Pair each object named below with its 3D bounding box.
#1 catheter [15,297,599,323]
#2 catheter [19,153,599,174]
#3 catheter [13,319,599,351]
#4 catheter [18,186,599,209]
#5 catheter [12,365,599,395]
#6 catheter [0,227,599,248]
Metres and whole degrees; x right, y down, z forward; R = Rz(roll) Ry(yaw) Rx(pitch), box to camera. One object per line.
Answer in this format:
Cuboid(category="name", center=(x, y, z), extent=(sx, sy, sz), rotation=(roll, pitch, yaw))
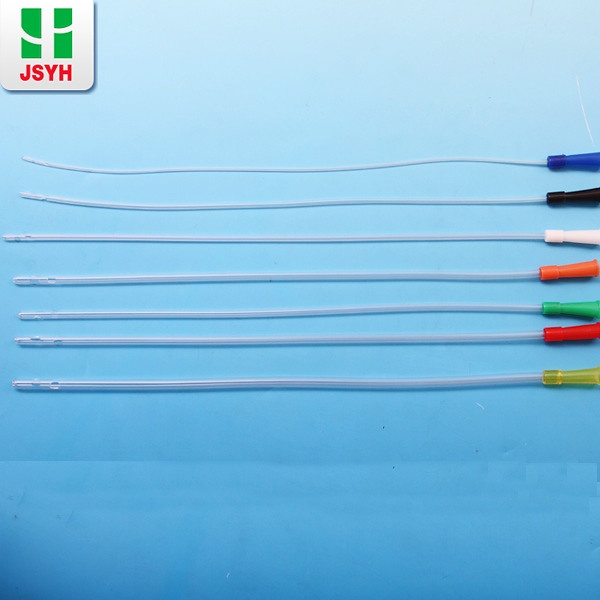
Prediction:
Cuboid(category="catheter", center=(-0.008, 0.034, 2.300), extent=(1.578, 0.042, 0.035), rotation=(0, -22, 2))
Cuboid(category="catheter", center=(0.034, -0.381, 2.304), extent=(1.604, 0.048, 0.046), rotation=(0, -22, 1))
Cuboid(category="catheter", center=(-0.008, 0.111, 2.298), extent=(1.593, 0.043, 0.033), rotation=(0, -22, 2))
Cuboid(category="catheter", center=(0.021, -0.276, 2.311), extent=(1.626, 0.052, 0.038), rotation=(0, -22, 2))
Cuboid(category="catheter", center=(-0.005, 0.231, 2.296), extent=(1.606, 0.054, 0.042), rotation=(0, -22, 2))
Cuboid(category="catheter", center=(-0.079, -0.173, 2.310), extent=(1.523, 0.033, 0.020), rotation=(0, -22, 2))
